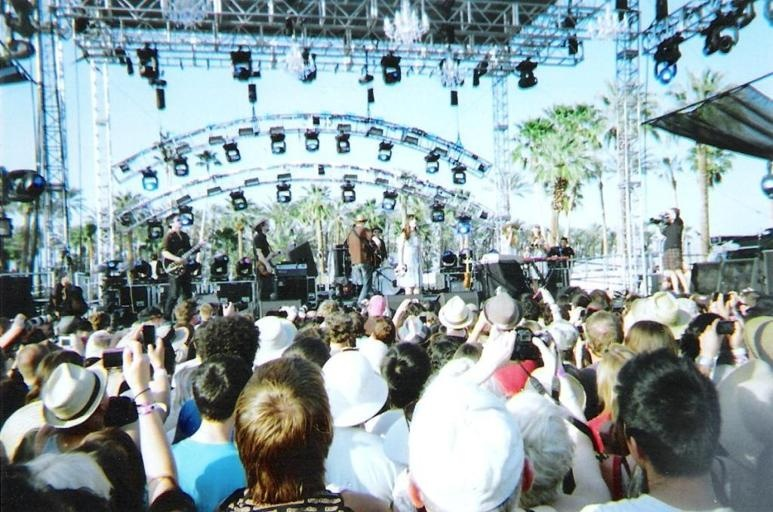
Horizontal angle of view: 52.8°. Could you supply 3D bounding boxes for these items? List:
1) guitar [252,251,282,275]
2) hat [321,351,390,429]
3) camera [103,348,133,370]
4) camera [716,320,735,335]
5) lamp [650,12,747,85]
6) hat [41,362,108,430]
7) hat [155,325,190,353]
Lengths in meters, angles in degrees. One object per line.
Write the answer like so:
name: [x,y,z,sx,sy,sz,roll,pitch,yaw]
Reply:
guitar: [-2.912,0.158,18.756,0.495,0.600,0.411,1,-3,-31]
hat: [-0.362,1.573,9.163,0.655,0.413,0.826,-32,27,1]
camera: [-3.255,1.230,9.395,0.396,0.310,0.228,-3,21,-21]
camera: [4.162,0.866,9.557,0.248,0.207,0.148,0,2,20]
lamp: [6.734,-4.476,16.585,0.441,1.141,2.568,1,-3,-22]
hat: [-3.598,1.597,8.922,0.600,0.772,0.290,17,-28,18]
hat: [-2.886,1.127,10.532,0.375,0.109,0.409,2,12,-1]
